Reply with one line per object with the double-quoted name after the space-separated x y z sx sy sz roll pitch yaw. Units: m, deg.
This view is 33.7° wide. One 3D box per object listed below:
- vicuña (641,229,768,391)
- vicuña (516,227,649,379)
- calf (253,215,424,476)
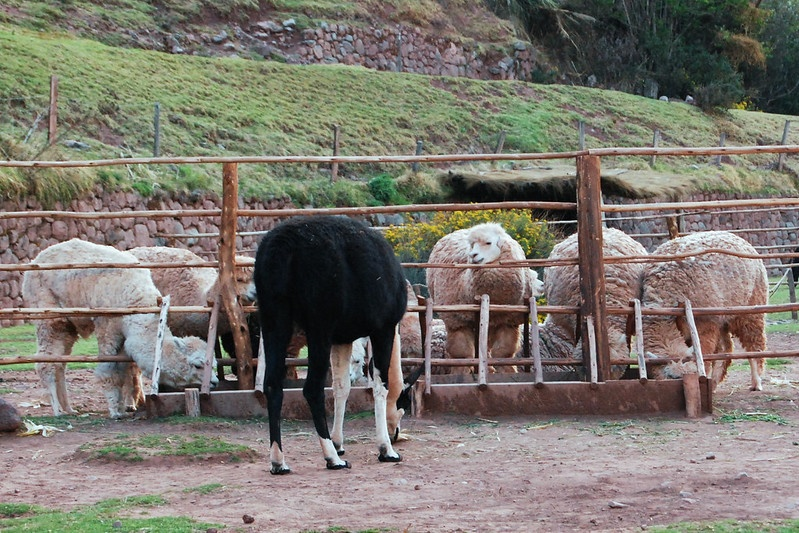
7.173 0.642 26.622 3.982 3.160 1.786 0 -4 -28 "vicuña"
4.315 1.024 28.112 1.643 2.914 3.653 5 -21 -5 "vicuña"
-0.911 1.490 25.937 2.330 4.842 5.947 -4 -6 25 "calf"
